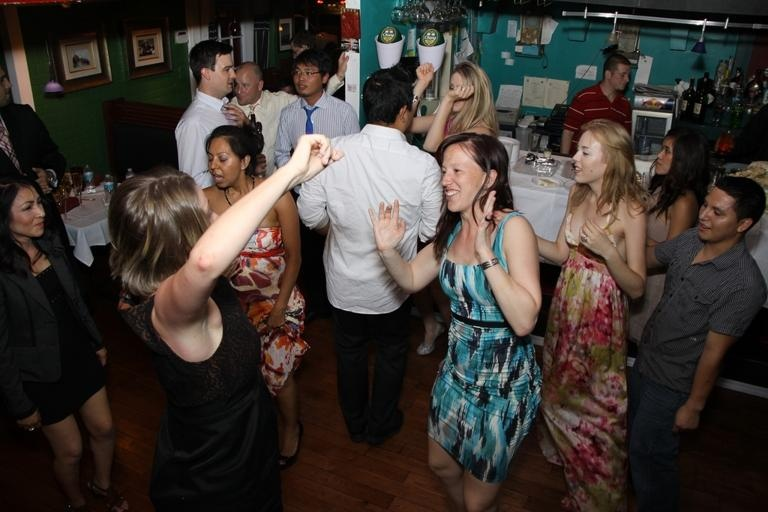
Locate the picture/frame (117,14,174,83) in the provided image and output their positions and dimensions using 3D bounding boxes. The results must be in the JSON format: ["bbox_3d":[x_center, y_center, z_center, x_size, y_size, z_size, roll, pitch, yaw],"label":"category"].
[{"bbox_3d":[-2.862,-2.479,5.975,0.085,0.799,0.786,12,24,23],"label":"picture/frame"}]

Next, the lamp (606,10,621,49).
[{"bbox_3d":[2.734,-2.642,6.040,0.150,0.371,0.351,11,24,28],"label":"lamp"}]

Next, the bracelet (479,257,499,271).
[{"bbox_3d":[0.450,0.032,2.168,0.056,0.057,0.058,-27,11,23],"label":"bracelet"}]

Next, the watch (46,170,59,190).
[{"bbox_3d":[-2.493,-0.569,3.775,0.029,0.124,0.119,0,17,8],"label":"watch"}]
